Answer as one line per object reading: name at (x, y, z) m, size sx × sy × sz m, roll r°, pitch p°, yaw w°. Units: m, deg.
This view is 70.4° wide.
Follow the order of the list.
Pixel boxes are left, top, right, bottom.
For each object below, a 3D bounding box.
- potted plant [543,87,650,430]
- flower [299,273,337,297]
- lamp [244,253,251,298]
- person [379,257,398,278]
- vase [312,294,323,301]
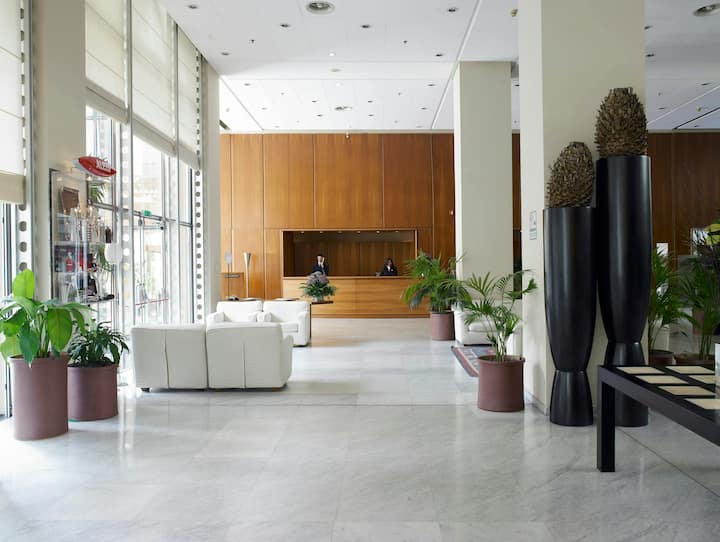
potted plant at (2.446, -0.149, 5.265) m, size 1.030 × 3.459 × 0.430 m, roll 1°, pitch 3°, yaw 22°
flower at (-0.881, 0.339, 11.005) m, size 0.589 × 0.496 × 0.633 m, roll 0°, pitch -3°, yaw 2°
lamp at (-3.411, 0.083, 15.384) m, size 0.235 × 1.303 × 0.220 m, roll 0°, pitch 3°, yaw 10°
person at (0.882, -0.138, 15.705) m, size 0.471 × 1.029 × 0.337 m, roll 0°, pitch -10°, yaw 3°
vase at (-0.871, 0.557, 10.700) m, size 0.201 × 0.115 × 0.162 m, roll -1°, pitch 4°, yaw -13°
